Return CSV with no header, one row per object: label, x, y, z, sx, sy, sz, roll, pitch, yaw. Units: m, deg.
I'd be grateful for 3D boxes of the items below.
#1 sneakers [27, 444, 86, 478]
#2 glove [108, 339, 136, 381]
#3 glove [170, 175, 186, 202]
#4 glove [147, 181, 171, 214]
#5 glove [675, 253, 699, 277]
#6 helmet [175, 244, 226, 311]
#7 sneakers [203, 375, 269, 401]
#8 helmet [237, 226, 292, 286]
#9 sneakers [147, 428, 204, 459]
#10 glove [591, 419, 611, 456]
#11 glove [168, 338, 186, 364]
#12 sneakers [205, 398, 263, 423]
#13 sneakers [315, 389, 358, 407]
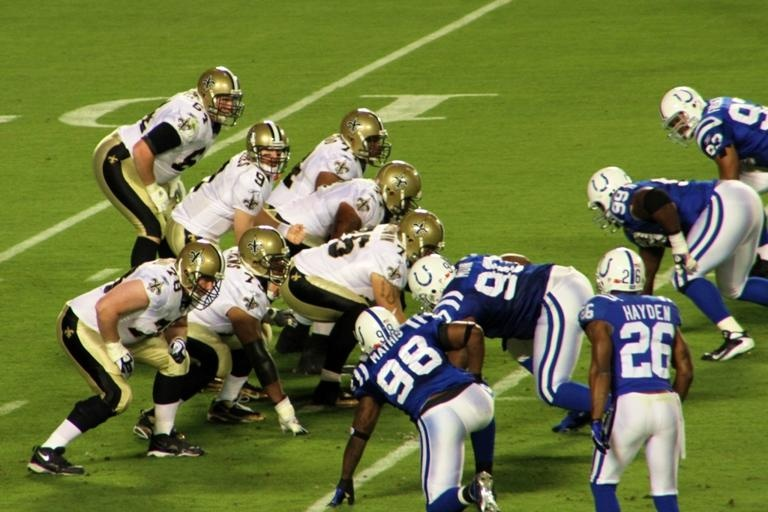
sneakers,-2.306,1.483,9.128,0.541,0.223,0.162,3,0,-10
glove,-1.910,0.751,9.163,0.120,0.269,0.170,-28,32,10
glove,-1.907,-0.603,11.588,0.080,0.193,0.155,0,-3,33
glove,-1.956,-0.510,11.015,0.099,0.269,0.179,-9,36,43
glove,2.539,0.073,10.639,0.204,0.158,0.151,-1,20,9
helmet,-1.329,0.150,9.241,0.355,0.512,0.198,-9,17,-7
sneakers,-1.171,1.082,10.477,0.621,0.225,0.205,1,0,2
helmet,-0.903,-0.010,9.639,0.484,0.377,0.331,14,17,5
sneakers,-1.574,1.420,9.531,0.493,0.189,0.162,1,-2,-2
glove,1.417,1.161,8.230,0.087,0.191,0.150,-4,10,21
glove,-1.542,0.704,9.378,0.113,0.177,0.083,-26,-18,40
sneakers,-1.189,1.230,10.090,0.522,0.204,0.169,3,5,-5
sneakers,-0.394,1.146,10.267,0.290,0.096,0.145,0,2,-2
